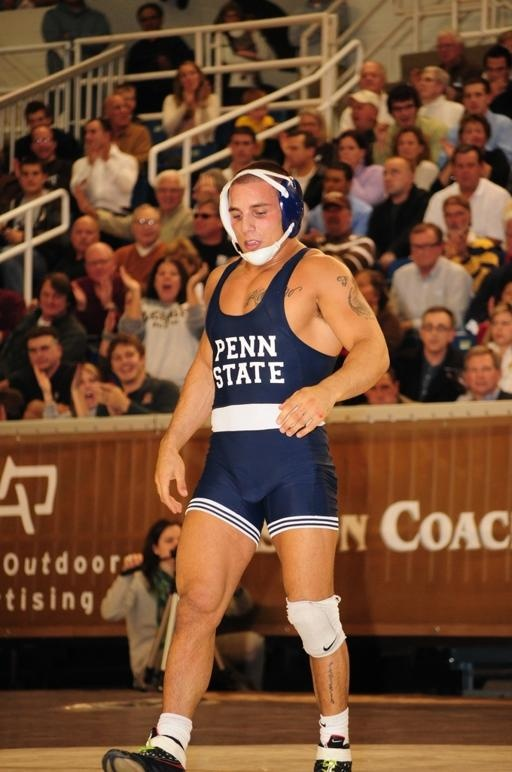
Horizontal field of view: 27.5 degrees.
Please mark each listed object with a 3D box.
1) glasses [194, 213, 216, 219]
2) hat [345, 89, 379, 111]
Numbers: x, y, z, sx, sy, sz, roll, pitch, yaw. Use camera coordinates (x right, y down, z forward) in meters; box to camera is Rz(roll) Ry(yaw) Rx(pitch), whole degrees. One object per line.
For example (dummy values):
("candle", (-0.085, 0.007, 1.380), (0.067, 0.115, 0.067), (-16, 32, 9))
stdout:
("glasses", (-0.332, -1.085, 6.649), (0.143, 0.044, 0.042), (4, 7, 31))
("hat", (0.738, -2.002, 7.236), (0.190, 0.101, 0.134), (25, 0, -21))
